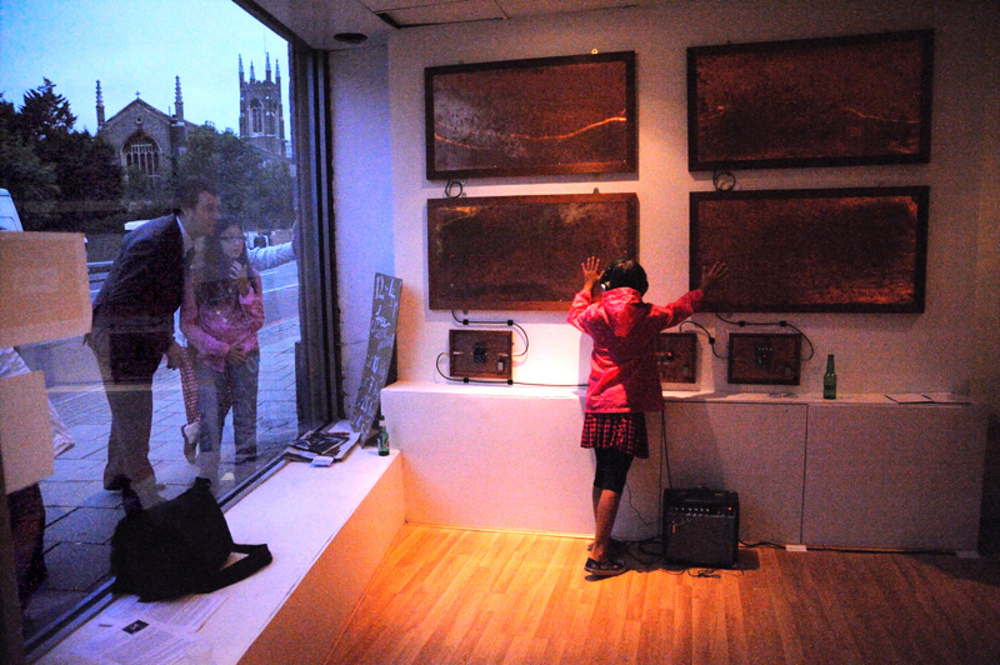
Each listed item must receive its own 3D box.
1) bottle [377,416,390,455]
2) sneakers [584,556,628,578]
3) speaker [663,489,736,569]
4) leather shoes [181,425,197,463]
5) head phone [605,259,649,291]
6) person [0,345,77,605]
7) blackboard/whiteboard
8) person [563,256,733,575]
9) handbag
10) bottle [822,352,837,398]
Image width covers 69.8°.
[{"bbox_3d":[-0.846,0.721,5.138,0.085,0.244,0.299,-2,10,-9],"label":"bottle"},{"bbox_3d":[0.645,1.480,4.495,0.277,0.119,0.109,-2,4,-10],"label":"sneakers"},{"bbox_3d":[1.331,1.274,4.644,0.499,0.472,0.311,-6,-16,32],"label":"speaker"},{"bbox_3d":[-1.828,0.650,4.214,0.071,0.192,0.071,5,7,12],"label":"leather shoes"},{"bbox_3d":[0.787,-0.356,4.446,0.187,0.218,0.239,3,6,5],"label":"head phone"},{"bbox_3d":[-2.172,0.669,3.348,0.124,1.248,0.313,3,11,14],"label":"person"},{"bbox_3d":[-0.908,0.183,5.265,0.408,1.207,0.455,-2,11,-13],"label":"blackboard/whiteboard"},{"bbox_3d":[0.757,0.514,4.699,0.864,1.969,0.585,-9,14,-41],"label":"person"},{"bbox_3d":[-1.673,1.083,3.794,0.769,0.488,0.631,-13,2,34],"label":"handbag"},{"bbox_3d":[2.196,0.291,4.761,0.099,0.290,0.169,5,11,24],"label":"bottle"}]
